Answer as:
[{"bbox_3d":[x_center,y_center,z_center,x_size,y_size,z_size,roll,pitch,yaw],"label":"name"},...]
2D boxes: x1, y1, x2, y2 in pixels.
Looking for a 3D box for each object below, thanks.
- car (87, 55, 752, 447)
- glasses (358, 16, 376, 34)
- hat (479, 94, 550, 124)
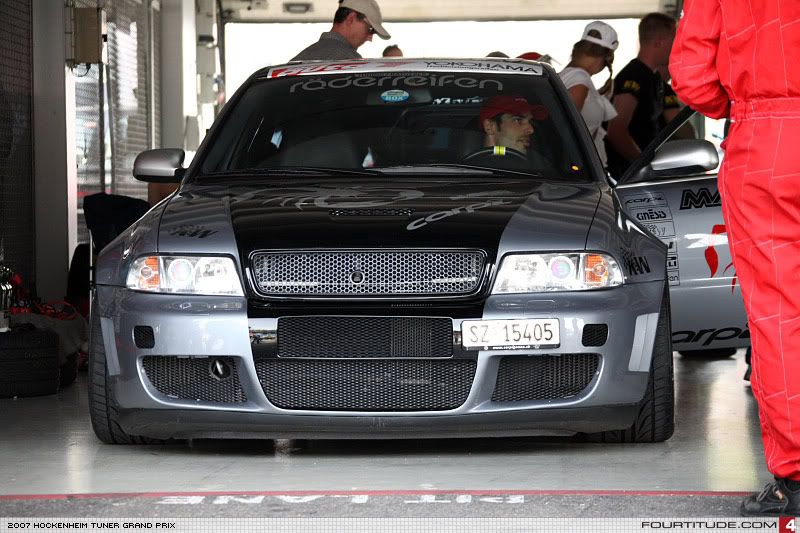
[{"bbox_3d":[0.051,-0.279,4.194,2.498,1.017,2.751,0,1,5],"label":"car"},{"bbox_3d":[-0.313,-2.227,6.648,0.043,0.152,0.091,-45,5,-6],"label":"glasses"},{"bbox_3d":[0.626,-0.860,3.971,0.292,0.090,0.169,1,1,19],"label":"hat"}]
